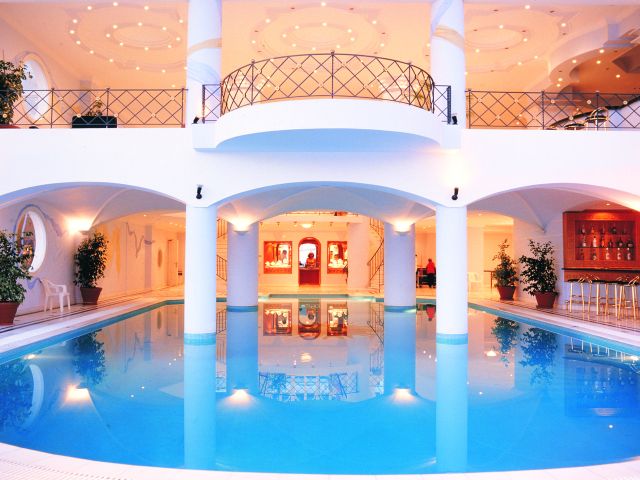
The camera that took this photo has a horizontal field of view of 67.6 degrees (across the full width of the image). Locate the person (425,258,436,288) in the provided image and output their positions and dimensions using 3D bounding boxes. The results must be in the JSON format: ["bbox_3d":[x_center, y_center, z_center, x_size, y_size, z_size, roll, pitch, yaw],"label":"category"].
[{"bbox_3d":[5.044,1.523,21.841,0.339,1.324,1.111,-1,-7,9],"label":"person"}]

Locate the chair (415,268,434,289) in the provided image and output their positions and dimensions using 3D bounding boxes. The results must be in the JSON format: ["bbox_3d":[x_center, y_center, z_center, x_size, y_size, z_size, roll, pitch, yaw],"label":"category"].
[{"bbox_3d":[4.880,1.856,22.377,0.676,0.831,1.126,1,-5,4],"label":"chair"}]

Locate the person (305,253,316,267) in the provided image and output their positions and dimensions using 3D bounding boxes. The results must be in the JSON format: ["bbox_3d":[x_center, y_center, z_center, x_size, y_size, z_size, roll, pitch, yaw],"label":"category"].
[{"bbox_3d":[-0.525,1.084,25.216,0.630,0.795,0.599,3,0,-44],"label":"person"}]
